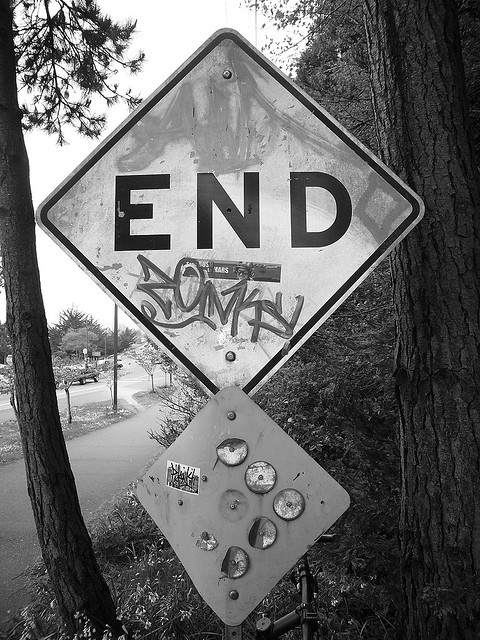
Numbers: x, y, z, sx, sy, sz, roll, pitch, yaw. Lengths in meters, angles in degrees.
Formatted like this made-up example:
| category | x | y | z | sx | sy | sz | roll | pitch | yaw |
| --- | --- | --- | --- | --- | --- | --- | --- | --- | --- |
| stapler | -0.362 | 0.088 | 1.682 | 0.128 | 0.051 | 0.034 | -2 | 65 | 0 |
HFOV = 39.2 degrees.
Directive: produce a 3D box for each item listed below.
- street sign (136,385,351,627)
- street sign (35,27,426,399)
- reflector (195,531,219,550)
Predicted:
| category | x | y | z | sx | sy | sz | roll | pitch | yaw |
| --- | --- | --- | --- | --- | --- | --- | --- | --- | --- |
| street sign | -0.004 | 0.614 | 2.230 | 0.722 | 0.711 | 0.274 | 2 | 14 | 17 |
| street sign | -0.031 | -0.389 | 2.350 | 1.241 | 1.208 | 0.414 | 2 | 14 | 16 |
| reflector | -0.114 | 0.738 | 2.230 | 0.047 | 0.029 | 0.066 | 2 | 58 | 8 |
